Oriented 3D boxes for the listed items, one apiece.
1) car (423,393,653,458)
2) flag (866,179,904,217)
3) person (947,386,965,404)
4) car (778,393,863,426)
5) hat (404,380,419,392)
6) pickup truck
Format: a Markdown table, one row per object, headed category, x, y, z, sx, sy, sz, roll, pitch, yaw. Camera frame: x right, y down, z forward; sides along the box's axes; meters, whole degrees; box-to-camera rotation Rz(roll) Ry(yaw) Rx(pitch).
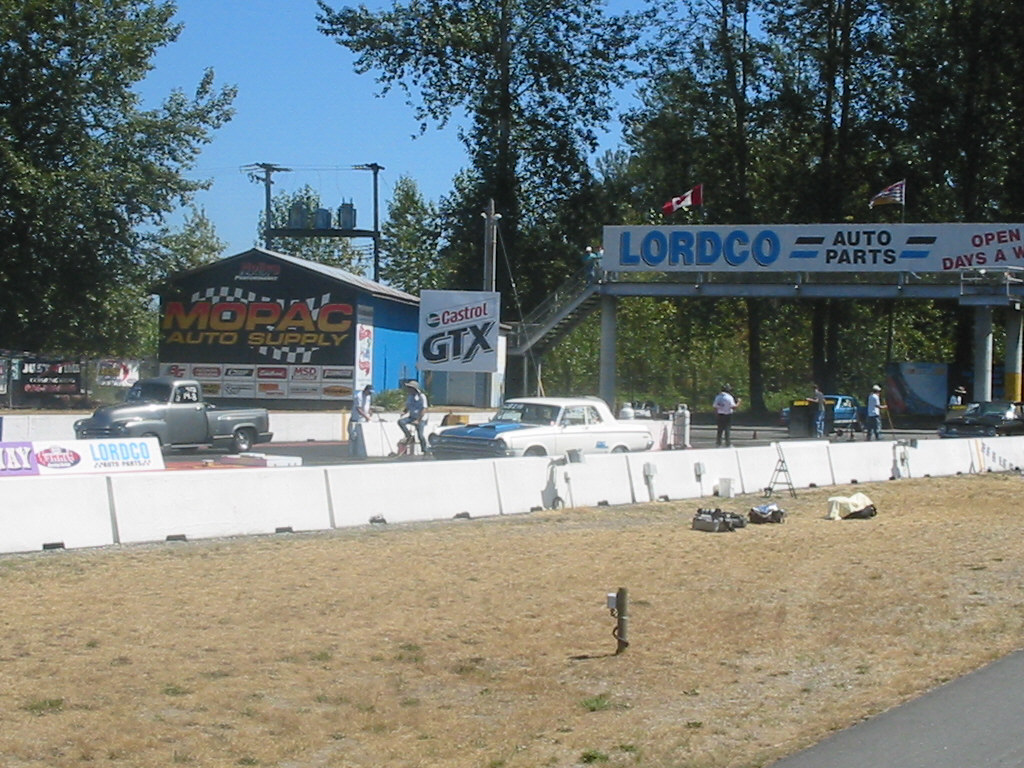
| category | x | y | z | sx | sy | sz | roll | pitch | yaw |
| --- | --- | --- | --- | --- | --- | --- | --- | --- | --- |
| car | 0.917 | 1.178 | 45.622 | 5.494 | 1.575 | 2.146 | -6 | 14 | -31 |
| flag | 15.902 | -7.978 | 71.055 | 2.035 | 1.935 | 0.227 | 4 | 1 | 18 |
| person | 18.815 | 0.417 | 70.791 | 0.701 | 0.701 | 1.283 | -2 | -6 | 16 |
| car | 12.914 | 1.031 | 64.718 | 2.693 | 1.234 | 1.610 | 1 | -1 | -26 |
| hat | -2.845 | 0.038 | 47.013 | 0.412 | 0.332 | 0.307 | -1 | 21 | -3 |
| pickup truck | -10.000 | 1.082 | 48.335 | 2.308 | 1.940 | 4.863 | -4 | -6 | 38 |
